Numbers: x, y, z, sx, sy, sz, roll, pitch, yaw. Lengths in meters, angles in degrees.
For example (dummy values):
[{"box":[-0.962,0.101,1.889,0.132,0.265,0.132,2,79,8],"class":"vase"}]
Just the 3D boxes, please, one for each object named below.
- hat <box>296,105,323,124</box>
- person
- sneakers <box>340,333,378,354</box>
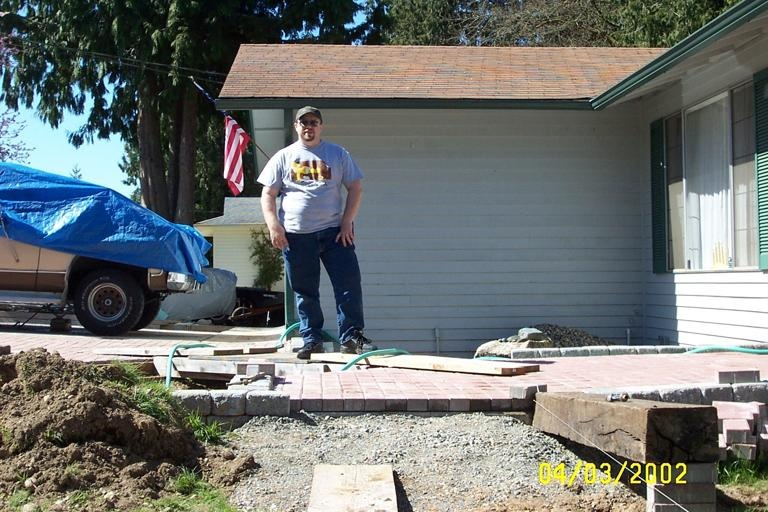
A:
[{"box":[-0.776,-1.482,8.233,0.231,0.191,0.266,0,-3,1],"class":"hat"},{"box":[-0.696,-0.243,8.250,1.119,2.628,0.404,0,-3,-7],"class":"person"},{"box":[-0.256,0.922,8.235,0.346,0.155,0.180,-5,-7,17],"class":"sneakers"}]
